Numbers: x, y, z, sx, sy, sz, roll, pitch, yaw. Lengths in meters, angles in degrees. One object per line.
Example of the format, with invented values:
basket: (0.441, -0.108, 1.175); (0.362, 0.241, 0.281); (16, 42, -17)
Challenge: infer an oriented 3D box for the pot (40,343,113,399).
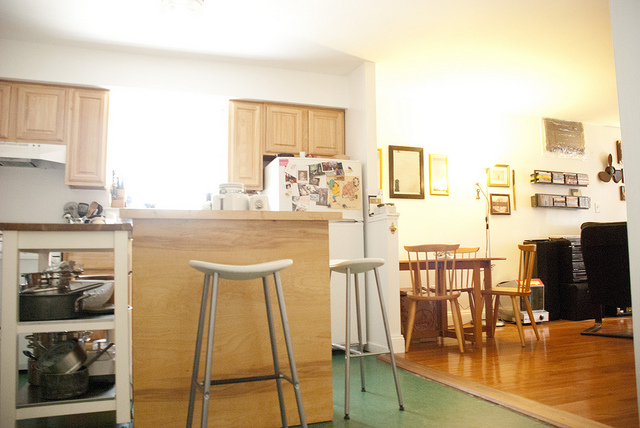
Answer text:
pot: (-1.619, 1.056, 3.244); (0.489, 0.305, 0.263); (2, -9, -37)

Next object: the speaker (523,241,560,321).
speaker: (3.214, 0.936, 6.712); (0.385, 1.104, 0.246); (0, 0, 12)

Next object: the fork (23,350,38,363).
fork: (-2.010, 0.985, 3.288); (0.035, 0.049, 0.194); (-25, -18, -32)

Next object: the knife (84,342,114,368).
knife: (-1.534, 0.991, 3.325); (0.110, 0.104, 0.291); (0, 0, 6)

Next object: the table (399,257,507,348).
table: (1.540, 0.916, 5.572); (1.226, 0.807, 1.029); (0, -1, -19)

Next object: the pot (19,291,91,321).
pot: (-1.795, 0.620, 3.222); (0.500, 0.170, 0.375); (-3, -5, 27)

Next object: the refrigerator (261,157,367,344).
refrigerator: (0.009, 0.075, 5.803); (1.219, 1.759, 1.188); (-2, 21, 0)

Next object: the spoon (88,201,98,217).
spoon: (-2.514, -0.067, 5.256); (0.081, 0.140, 0.058); (30, -17, 7)
